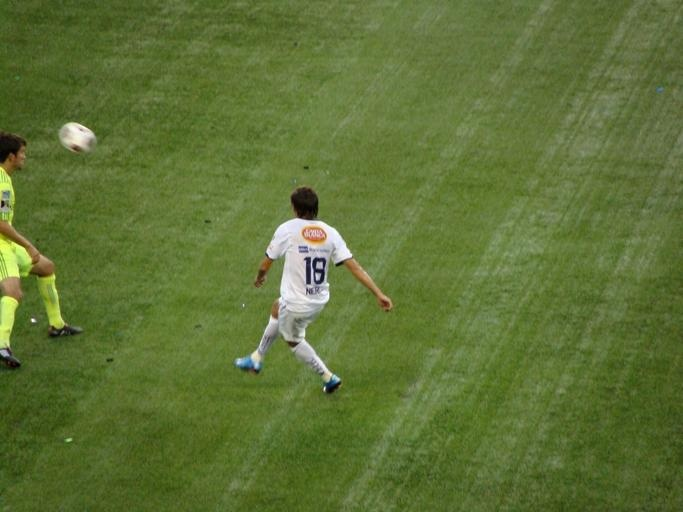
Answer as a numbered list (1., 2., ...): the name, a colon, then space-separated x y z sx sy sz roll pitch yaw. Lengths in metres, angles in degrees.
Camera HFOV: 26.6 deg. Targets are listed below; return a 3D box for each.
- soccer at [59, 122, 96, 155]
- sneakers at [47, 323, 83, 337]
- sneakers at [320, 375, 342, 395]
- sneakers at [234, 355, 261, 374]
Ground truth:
1. soccer: -3.268 -1.470 17.878 0.367 0.214 0.378 30 -2 9
2. sneakers: -3.190 0.839 16.649 0.386 0.193 0.152 -4 48 -16
3. sneakers: -0.132 1.481 16.369 0.129 0.264 0.111 22 27 -28
4. sneakers: -1.053 1.233 16.462 0.312 0.168 0.157 21 3 9
